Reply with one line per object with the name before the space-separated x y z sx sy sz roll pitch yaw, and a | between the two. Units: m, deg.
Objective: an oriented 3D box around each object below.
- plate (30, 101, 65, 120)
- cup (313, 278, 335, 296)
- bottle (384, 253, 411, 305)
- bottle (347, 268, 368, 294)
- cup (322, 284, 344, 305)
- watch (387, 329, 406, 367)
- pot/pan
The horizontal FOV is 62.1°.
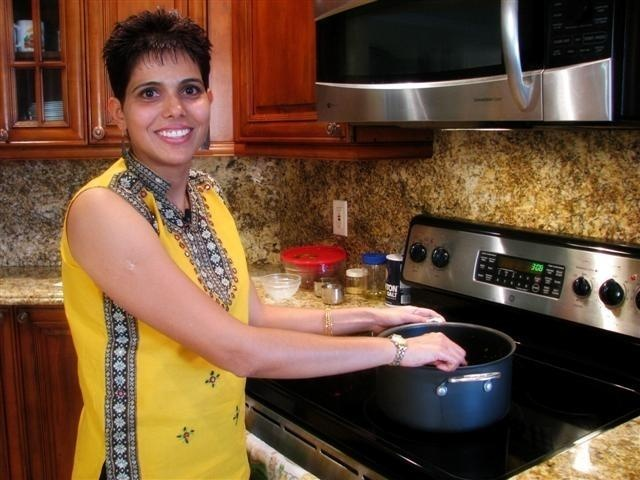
plate | -1.110 -0.525 2.177 0.098 0.094 0.024 -4 12 -12
cup | 0.009 0.179 2.053 0.058 0.057 0.078 1 1 17
bottle | 0.286 0.144 1.879 0.105 0.159 0.099 -1 6 0
bottle | 0.134 0.156 2.080 0.090 0.084 0.089 1 7 -8
cup | 0.044 0.200 1.943 0.060 0.058 0.081 1 1 27
watch | 0.166 0.227 1.112 0.038 0.060 0.059 2 8 2
pot/pan | 0.296 0.312 1.173 0.232 0.116 0.271 -4 8 -13
